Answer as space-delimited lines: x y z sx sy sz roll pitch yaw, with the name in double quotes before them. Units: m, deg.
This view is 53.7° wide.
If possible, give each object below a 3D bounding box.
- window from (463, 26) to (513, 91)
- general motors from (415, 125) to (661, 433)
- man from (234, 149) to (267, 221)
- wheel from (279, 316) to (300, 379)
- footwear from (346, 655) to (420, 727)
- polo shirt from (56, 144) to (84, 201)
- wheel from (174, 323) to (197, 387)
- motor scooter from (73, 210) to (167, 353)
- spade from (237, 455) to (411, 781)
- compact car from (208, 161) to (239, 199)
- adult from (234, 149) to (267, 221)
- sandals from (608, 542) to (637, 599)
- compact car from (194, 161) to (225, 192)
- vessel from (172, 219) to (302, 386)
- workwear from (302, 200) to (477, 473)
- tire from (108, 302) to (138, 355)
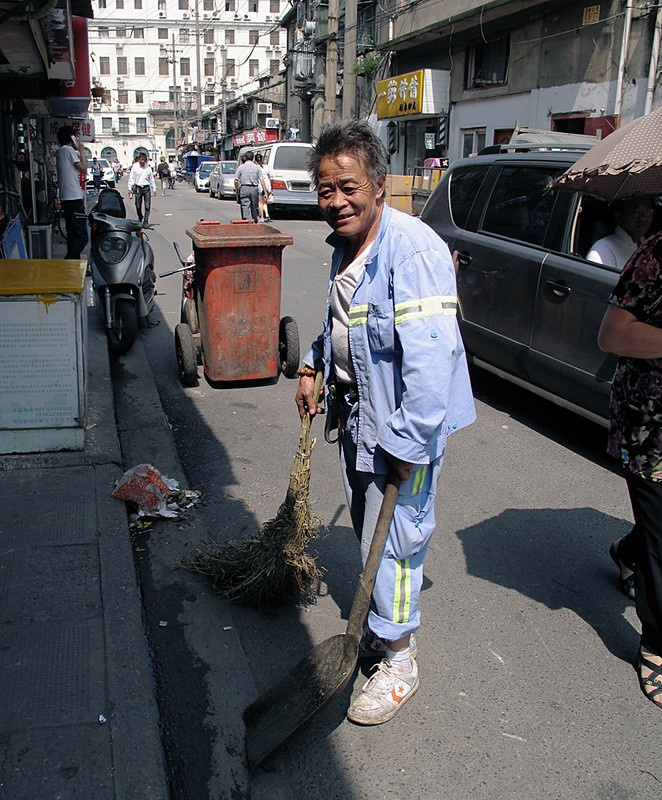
"window" 4.570 -9.938 19.267 0.060 1.253 1.662 -12 24 -34
"general motors" 1.612 -1.094 5.219 1.147 1.402 2.287 -16 29 -27
"man" -2.218 -5.725 17.886 0.682 1.952 0.625 -6 27 -24
"wheel" -0.383 -0.462 5.956 0.201 0.766 0.638 0 0 -6
"footwear" 0.179 0.945 2.207 0.106 0.148 0.317 6 8 38
"polo shirt" -4.032 -3.495 10.018 0.523 0.731 0.304 6 13 42
"wheel" -1.263 -0.392 5.724 0.137 0.558 0.594 -4 38 -12
"motor scooter" -2.146 -1.222 6.751 0.626 1.354 1.341 -2 15 -15
"spade" -0.021 0.784 2.275 0.225 1.302 0.301 12 20 -25
"compact car" -5.152 -10.502 31.256 1.578 1.407 2.881 -5 22 -18
"adult" -2.196 -5.780 17.896 0.697 2.005 0.635 -7 36 -19
"sandals" 1.315 0.780 2.955 0.102 0.294 0.076 -12 -6 7
"compact car" -7.207 -13.189 38.644 1.417 1.649 3.098 -4 16 -14
"vessel" -0.781 -0.853 5.634 1.053 1.392 1.056 5 27 1
"workwear" 0.220 -0.170 1.962 0.357 0.785 0.587 -3 15 -19
"tire" -2.037 -0.705 6.406 0.263 0.559 0.403 -4 15 -20
